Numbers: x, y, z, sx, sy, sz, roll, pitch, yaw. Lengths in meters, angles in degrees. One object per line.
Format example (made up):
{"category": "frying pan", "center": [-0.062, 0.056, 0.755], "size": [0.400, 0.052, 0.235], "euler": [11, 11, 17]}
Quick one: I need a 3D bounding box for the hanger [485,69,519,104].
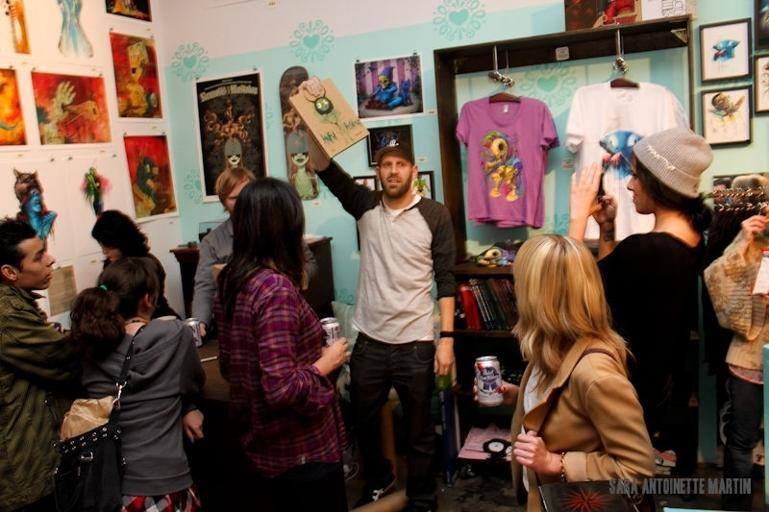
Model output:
{"category": "hanger", "center": [0.903, -1.247, 4.176], "size": [0.287, 0.078, 0.304], "euler": [14, 56, 18]}

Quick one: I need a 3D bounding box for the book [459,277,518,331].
{"category": "book", "center": [0.807, 0.361, 4.043], "size": [0.387, 0.375, 0.128], "euler": [1, 4, 18]}

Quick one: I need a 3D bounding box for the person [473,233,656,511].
{"category": "person", "center": [0.766, 0.564, 2.223], "size": [0.571, 1.246, 0.633], "euler": [-2, 8, 16]}

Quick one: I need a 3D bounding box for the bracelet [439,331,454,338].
{"category": "bracelet", "center": [0.413, 0.535, 3.630], "size": [0.083, 0.058, 0.085], "euler": [-4, 8, -1]}

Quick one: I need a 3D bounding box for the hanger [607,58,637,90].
{"category": "hanger", "center": [1.684, -1.249, 3.892], "size": [0.169, 0.244, 0.279], "euler": [-1, 9, 22]}

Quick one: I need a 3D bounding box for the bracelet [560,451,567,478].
{"category": "bracelet", "center": [0.726, 0.866, 2.249], "size": [0.024, 0.074, 0.058], "euler": [1, -6, 10]}

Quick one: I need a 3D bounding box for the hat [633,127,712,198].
{"category": "hat", "center": [1.386, -0.422, 2.636], "size": [0.334, 0.330, 0.180], "euler": [-5, 8, -7]}

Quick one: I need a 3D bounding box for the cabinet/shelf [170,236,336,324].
{"category": "cabinet/shelf", "center": [-1.102, 0.179, 4.819], "size": [1.222, 1.083, 0.760], "euler": [-1, 0, 13]}
